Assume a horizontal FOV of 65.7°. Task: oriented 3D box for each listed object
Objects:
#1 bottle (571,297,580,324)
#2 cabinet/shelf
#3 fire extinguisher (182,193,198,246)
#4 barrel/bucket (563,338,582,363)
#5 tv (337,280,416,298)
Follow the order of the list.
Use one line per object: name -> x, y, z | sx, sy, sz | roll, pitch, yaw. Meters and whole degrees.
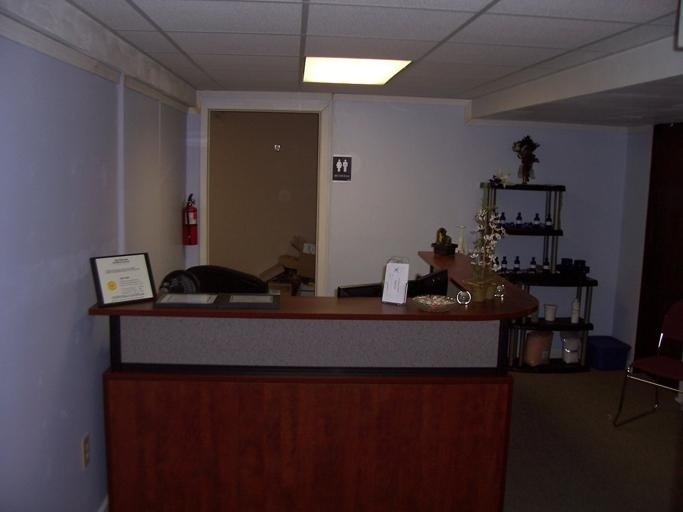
bottle -> 2.698, 0.637, 6.102 | 0.081, 0.271, 0.226 | 6, 15, 26
cabinet/shelf -> 2.314, 0.226, 6.262 | 1.418, 2.227, 1.115 | 1, 13, 4
fire extinguisher -> -1.732, -0.415, 6.037 | 0.159, 0.542, 0.299 | -2, 13, -5
barrel/bucket -> 2.685, 1.087, 6.161 | 0.220, 0.286, 0.190 | 2, 14, 11
tv -> 0.256, 0.254, 4.027 | 0.582, 0.125, 0.190 | -1, 14, -3
